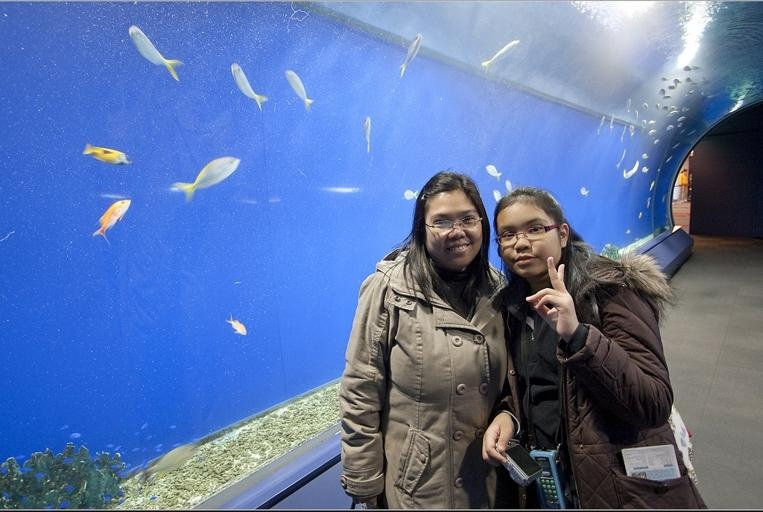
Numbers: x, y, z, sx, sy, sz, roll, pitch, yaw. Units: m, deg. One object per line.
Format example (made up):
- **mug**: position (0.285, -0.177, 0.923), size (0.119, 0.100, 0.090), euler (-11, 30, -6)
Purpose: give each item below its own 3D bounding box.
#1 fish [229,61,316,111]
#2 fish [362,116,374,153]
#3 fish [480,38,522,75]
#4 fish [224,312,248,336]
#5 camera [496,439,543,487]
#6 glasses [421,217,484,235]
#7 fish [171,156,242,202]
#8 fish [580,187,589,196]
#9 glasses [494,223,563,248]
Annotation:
- **fish**: position (-1.102, -1.746, 4.792), size (0.342, 0.397, 1.050), euler (9, 13, 37)
- **fish**: position (-0.199, -1.552, 5.997), size (0.148, 0.599, 0.294), euler (1, 13, 6)
- **fish**: position (1.927, -3.279, 7.470), size (0.567, 0.240, 0.100), euler (-35, 30, 4)
- **fish**: position (-1.500, 0.717, 4.708), size (0.219, 0.137, 0.050), euler (31, 4, -13)
- **camera**: position (0.871, 1.320, 2.953), size (0.213, 0.085, 0.276), euler (-21, 49, -29)
- **glasses**: position (0.485, -0.213, 3.097), size (0.359, 0.116, 0.062), euler (0, 11, -2)
- **fish**: position (-1.709, -0.741, 4.365), size (0.623, 0.258, 0.136), euler (-30, 51, -21)
- **fish**: position (5.381, -1.716, 12.166), size (0.235, 0.101, 0.286), euler (9, 52, -10)
- **glasses**: position (0.976, -0.137, 3.075), size (0.374, 0.149, 0.095), euler (3, 11, 12)
